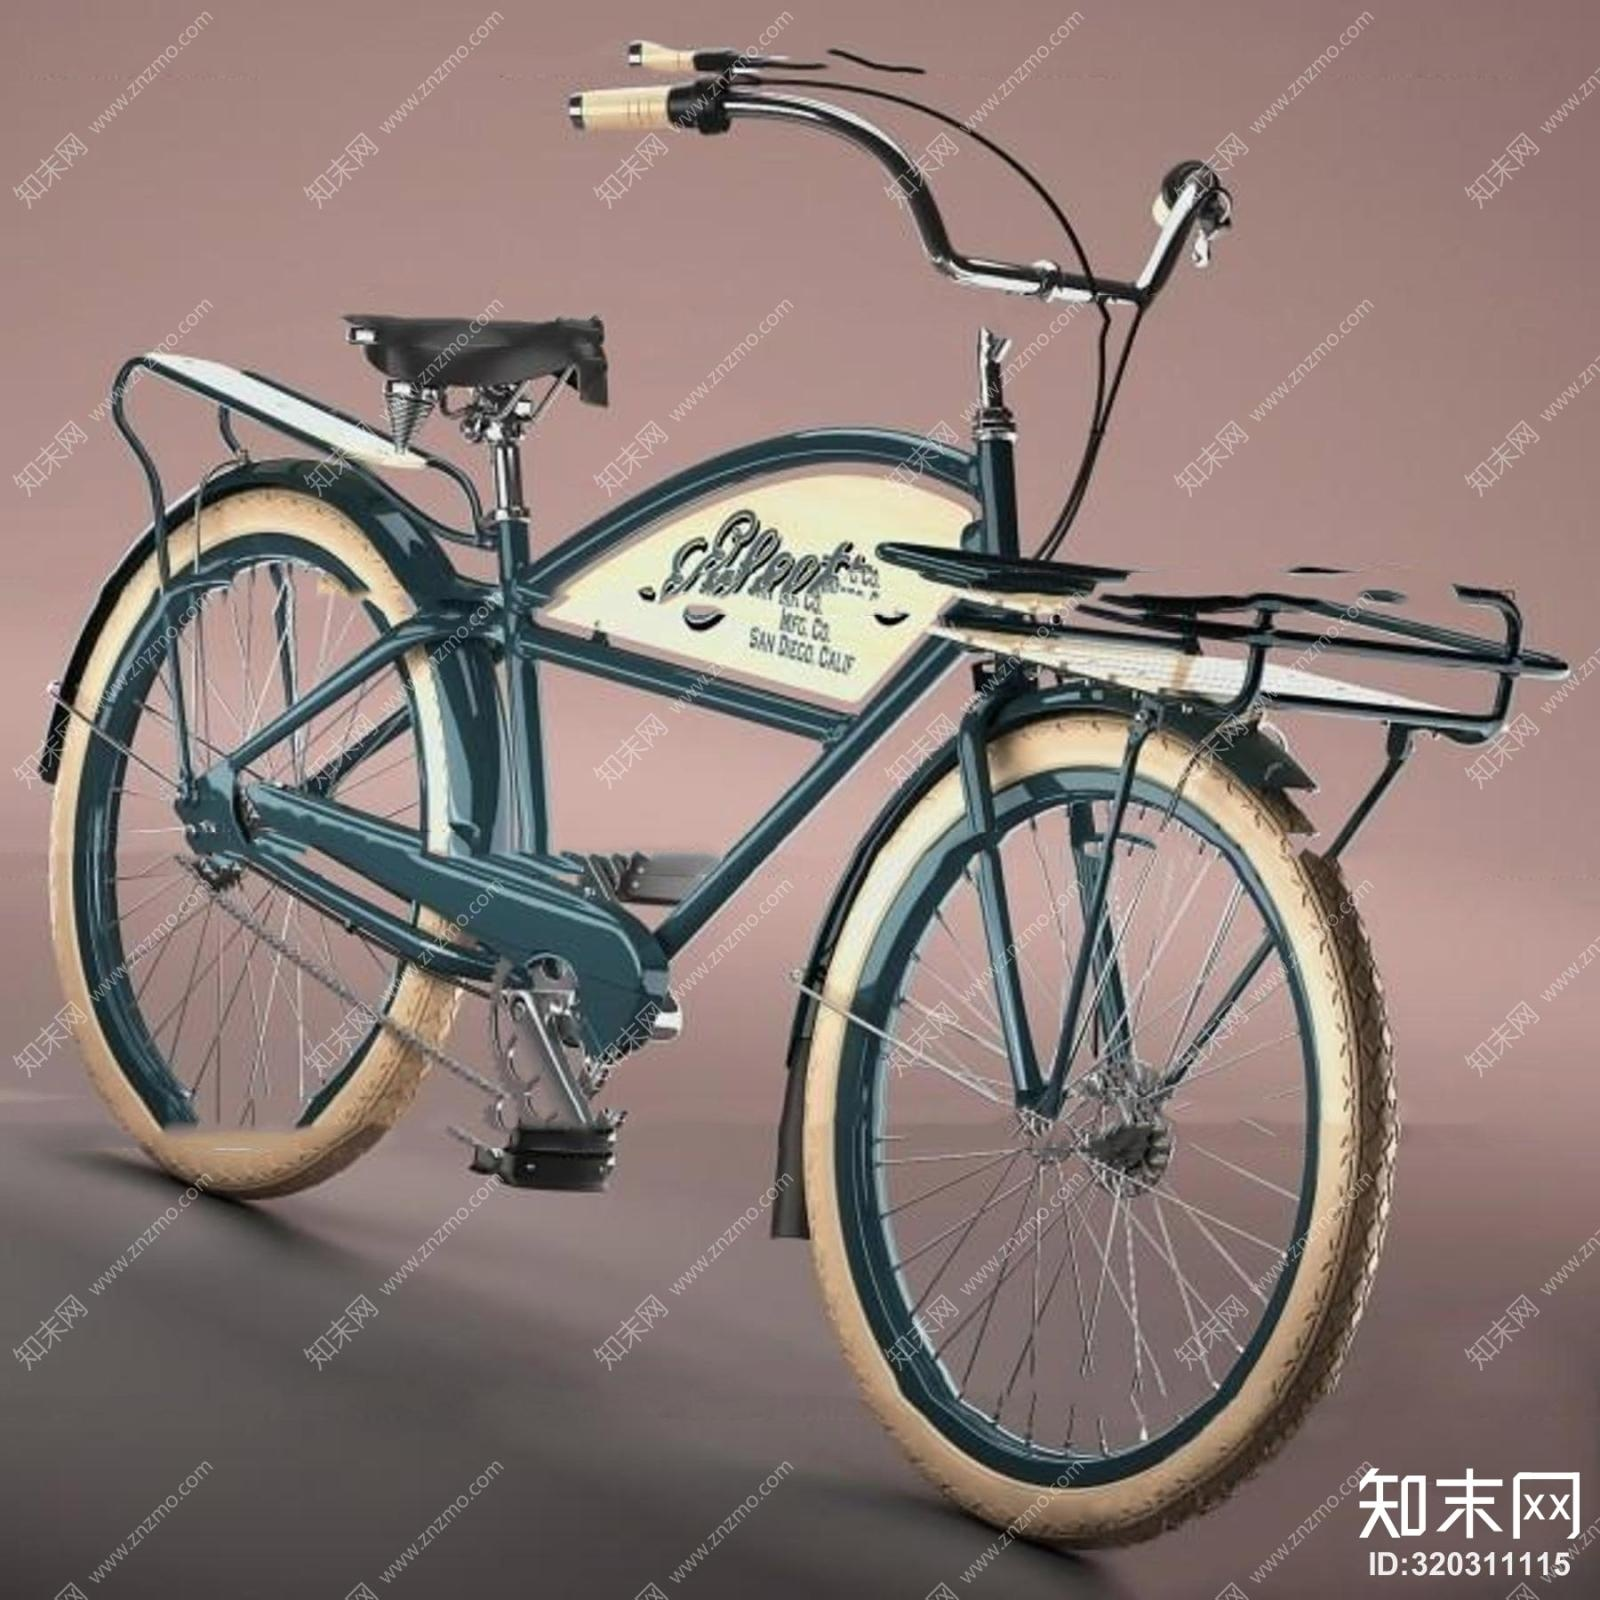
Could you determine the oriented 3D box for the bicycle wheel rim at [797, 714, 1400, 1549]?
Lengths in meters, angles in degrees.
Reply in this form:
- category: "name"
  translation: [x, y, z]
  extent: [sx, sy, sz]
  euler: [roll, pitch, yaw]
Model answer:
- category: "bicycle wheel rim"
  translation: [0.324, 0.317, 2.614]
  extent: [0.629, 0.948, 1.128]
  euler: [5, 12, 8]
